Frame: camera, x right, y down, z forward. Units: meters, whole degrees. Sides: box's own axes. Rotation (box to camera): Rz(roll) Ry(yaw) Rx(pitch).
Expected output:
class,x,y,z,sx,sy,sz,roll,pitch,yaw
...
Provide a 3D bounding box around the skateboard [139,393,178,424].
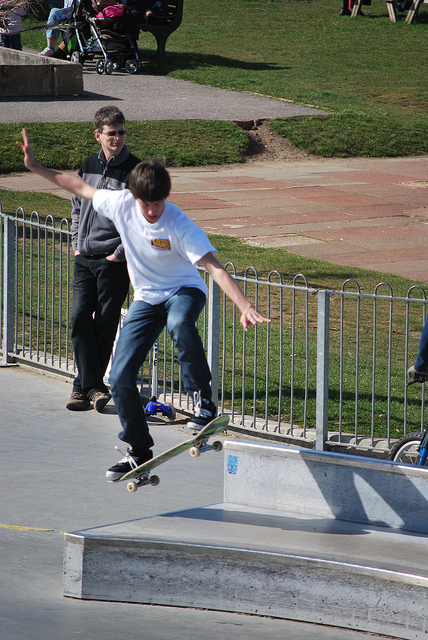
class,x,y,z,sx,sy,sz,roll,pitch,yaw
skateboard,-0.380,0.625,8.940,0.159,0.262,0.120,-37,14,12

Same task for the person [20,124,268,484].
class,x,y,z,sx,sy,sz,roll,pitch,yaw
person,-0.284,0.024,6.801,1.405,1.725,0.451,7,11,39

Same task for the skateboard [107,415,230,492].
class,x,y,z,sx,sy,sz,roll,pitch,yaw
skateboard,-0.264,0.808,7.486,0.668,0.118,0.182,-31,-31,18
